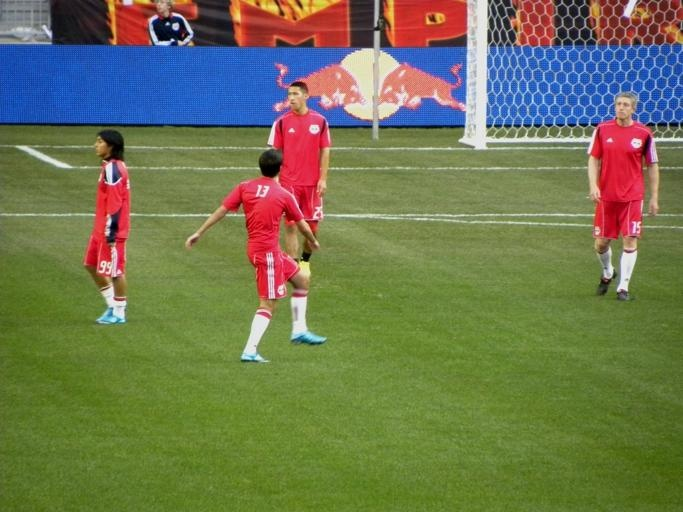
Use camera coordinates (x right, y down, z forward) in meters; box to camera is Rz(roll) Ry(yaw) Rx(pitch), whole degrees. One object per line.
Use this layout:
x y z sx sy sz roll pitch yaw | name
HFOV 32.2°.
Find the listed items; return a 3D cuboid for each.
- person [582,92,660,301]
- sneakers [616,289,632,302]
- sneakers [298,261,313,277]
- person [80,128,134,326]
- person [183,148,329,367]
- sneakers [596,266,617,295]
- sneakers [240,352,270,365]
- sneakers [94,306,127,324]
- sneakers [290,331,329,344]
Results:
3.063 -0.666 13.065 0.773 2.224 0.557 5 11 10 | person
3.075 0.443 13.041 0.108 0.064 0.130 3 -23 5 | sneakers
-0.409 0.148 13.675 0.144 0.220 0.227 0 -4 2 | sneakers
-2.360 -0.293 12.021 0.430 1.954 0.337 2 11 -6 | person
-0.714 -0.007 11.144 1.121 1.956 0.550 2 11 -6 | person
2.964 0.325 13.254 0.133 0.392 0.170 26 -3 31 | sneakers
-0.803 0.960 11.131 0.265 0.103 0.100 0 6 -7 | sneakers
-2.337 0.615 12.139 0.269 0.119 0.150 4 2 -4 | sneakers
-0.328 0.805 11.626 0.334 0.134 0.129 -1 8 -2 | sneakers
